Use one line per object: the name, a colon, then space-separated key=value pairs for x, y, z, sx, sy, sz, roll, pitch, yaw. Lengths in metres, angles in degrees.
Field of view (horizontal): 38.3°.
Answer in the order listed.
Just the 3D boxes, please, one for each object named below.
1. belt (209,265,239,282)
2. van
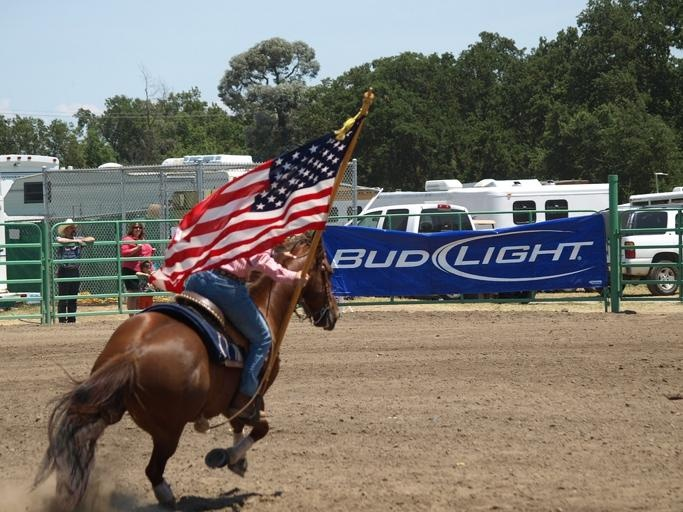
belt: x=-1.456 y=0.236 z=12.545 sx=0.215 sy=0.049 sz=0.210 roll=27 pitch=-5 yaw=-43
van: x=1.553 y=-0.054 z=21.955 sx=4.175 sy=1.812 sz=2.365 roll=1 pitch=-3 yaw=-1
